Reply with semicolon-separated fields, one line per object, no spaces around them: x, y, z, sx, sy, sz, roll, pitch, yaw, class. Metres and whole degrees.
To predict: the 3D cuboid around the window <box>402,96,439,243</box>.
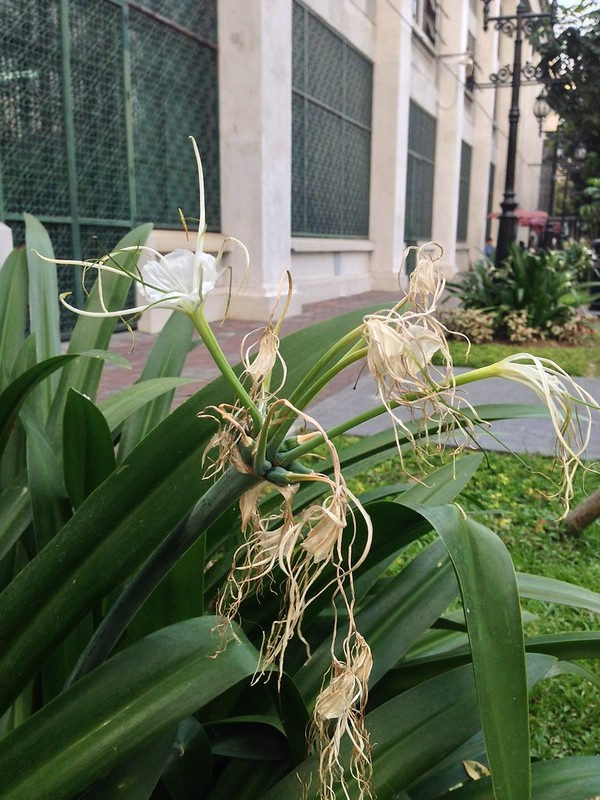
2.625;-4.904;14.367;0.615;3.924;0.703;4;16;18;window
